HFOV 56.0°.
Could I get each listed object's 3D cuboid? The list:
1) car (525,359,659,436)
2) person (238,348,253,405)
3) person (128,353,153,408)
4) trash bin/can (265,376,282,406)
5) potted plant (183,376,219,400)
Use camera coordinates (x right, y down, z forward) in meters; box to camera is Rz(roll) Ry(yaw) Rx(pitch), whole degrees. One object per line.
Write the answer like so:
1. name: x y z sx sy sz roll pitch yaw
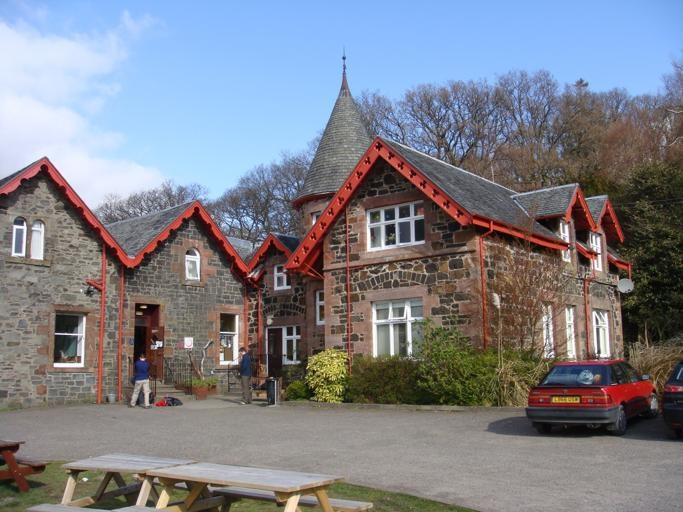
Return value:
1. car: 6.099 3.178 15.243 1.696 1.218 2.998 -8 -7 36
2. person: -3.833 4.731 25.669 0.420 2.302 1.540 0 -12 -10
3. person: -7.480 4.649 24.021 0.737 2.014 0.756 1 -12 -17
4. trash bin/can: -2.430 5.136 24.338 0.852 1.108 0.853 9 -17 -41
5. potted plant: -5.985 5.651 27.506 1.092 0.634 0.871 4 -19 -16
